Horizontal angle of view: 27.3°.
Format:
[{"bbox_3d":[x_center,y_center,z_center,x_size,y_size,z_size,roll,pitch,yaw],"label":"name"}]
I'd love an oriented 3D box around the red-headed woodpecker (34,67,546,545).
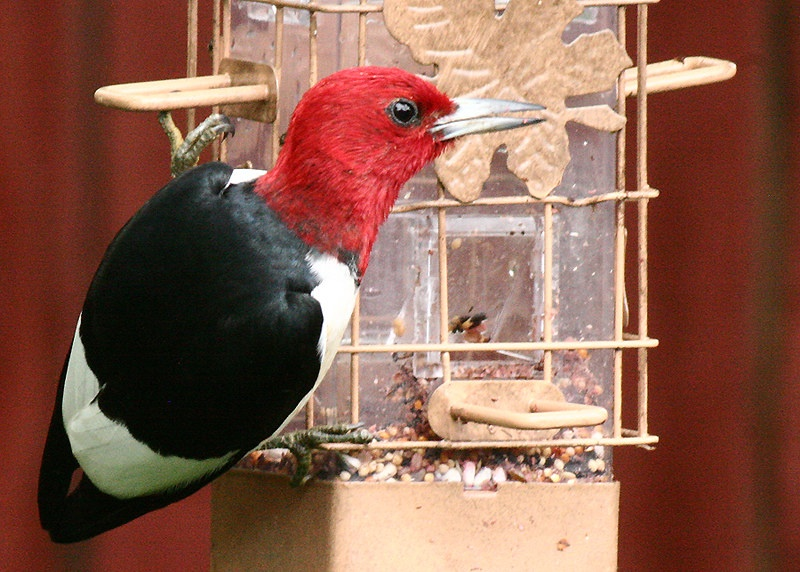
[{"bbox_3d":[-0.302,-0.101,3.733,1.245,0.681,1.011,-10,110,-17],"label":"red-headed woodpecker"}]
